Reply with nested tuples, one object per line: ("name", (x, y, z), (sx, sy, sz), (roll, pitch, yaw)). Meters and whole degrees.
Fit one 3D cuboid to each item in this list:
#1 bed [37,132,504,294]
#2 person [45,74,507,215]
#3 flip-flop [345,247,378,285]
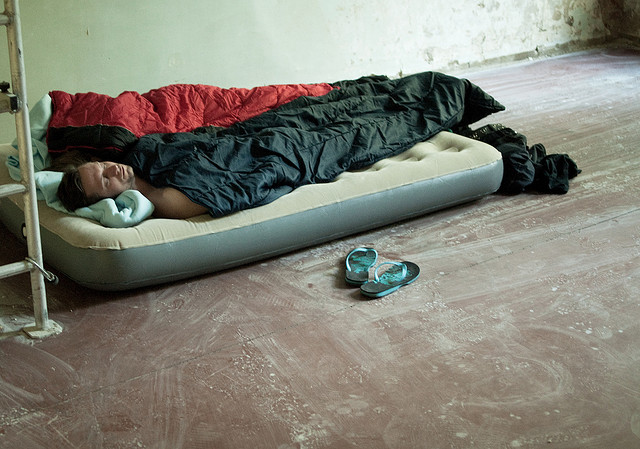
("bed", (-0.129, -0.028, 2.649), (1.807, 0.223, 0.922), (-12, 21, -23))
("person", (-0.123, -0.465, 2.895), (2.271, 0.351, 1.087), (-14, 26, -22))
("flip-flop", (0.196, 0.193, 2.527), (0.146, 0.274, 0.038), (9, 48, -1))
